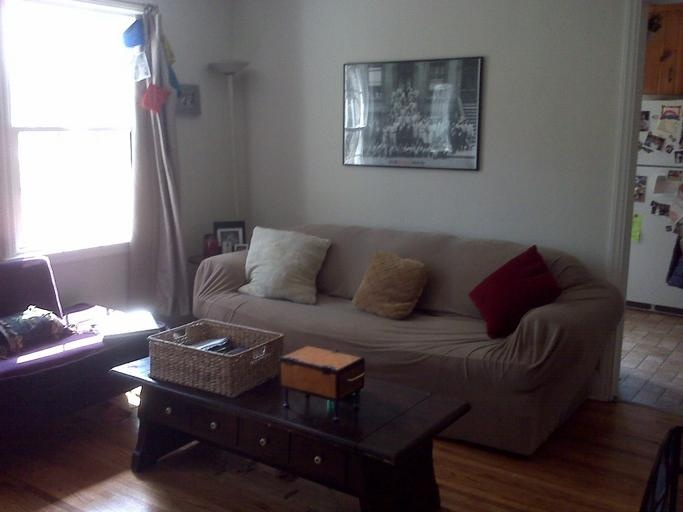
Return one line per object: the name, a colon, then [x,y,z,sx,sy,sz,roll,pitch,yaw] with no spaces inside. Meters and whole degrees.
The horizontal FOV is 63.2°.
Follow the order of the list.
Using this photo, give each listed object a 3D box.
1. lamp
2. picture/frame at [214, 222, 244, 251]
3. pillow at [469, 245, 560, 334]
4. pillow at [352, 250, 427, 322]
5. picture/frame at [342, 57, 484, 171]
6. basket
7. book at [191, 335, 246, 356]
lamp: [-0.971,-1.036,5.040,0.368,1.441,0.333,14,20,39]
picture/frame: [-1.019,-0.172,4.971,0.250,0.289,0.019,-5,-6,-28]
pillow: [1.072,0.215,3.419,0.483,0.462,0.371,-3,16,-12]
pillow: [0.332,0.212,3.739,0.428,0.438,0.175,19,-14,35]
picture/frame: [0.581,-1.094,4.201,0.915,0.643,0.019,5,11,28]
basket: [-0.655,0.446,2.780,0.509,0.189,0.397,6,6,30]
book: [-0.645,0.473,2.915,0.136,0.043,0.138,5,4,41]
